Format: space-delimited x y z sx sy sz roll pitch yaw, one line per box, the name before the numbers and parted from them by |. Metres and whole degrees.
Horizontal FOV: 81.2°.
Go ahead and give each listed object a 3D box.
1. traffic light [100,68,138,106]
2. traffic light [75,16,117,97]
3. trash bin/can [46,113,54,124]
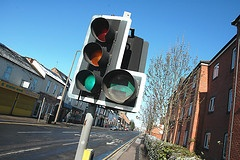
traffic light | 0.044 0.047 2.249 0.597 0.588 0.463 9 -5 14
traffic light | -0.394 -0.412 2.307 0.555 1.371 0.358 -3 -23 31
trash bin/can | -10.664 5.901 21.268 0.923 1.418 0.931 21 -23 -29
